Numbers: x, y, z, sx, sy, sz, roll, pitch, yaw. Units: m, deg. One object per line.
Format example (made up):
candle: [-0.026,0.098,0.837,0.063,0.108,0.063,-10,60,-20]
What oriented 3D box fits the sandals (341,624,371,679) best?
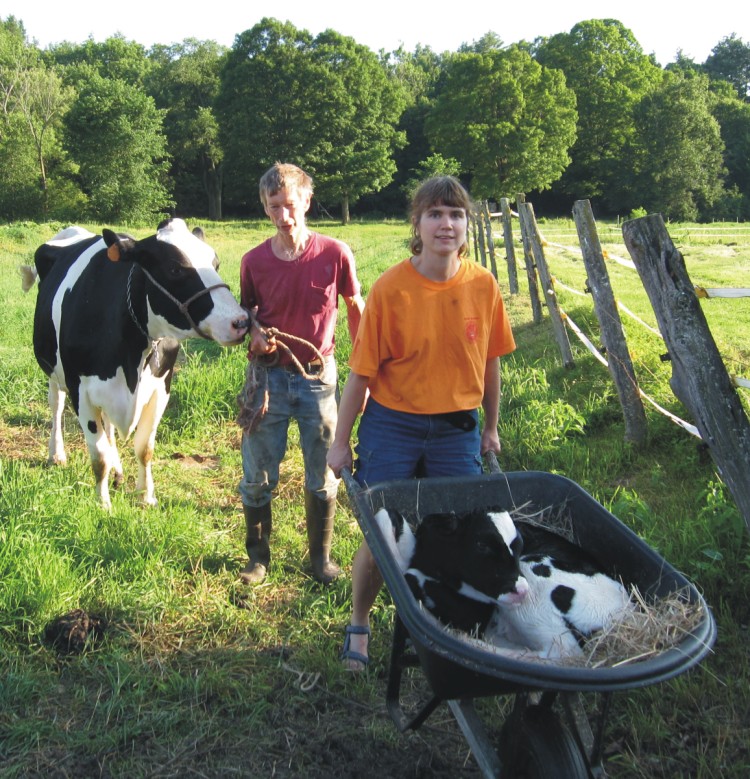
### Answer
sandals: [-0.085,1.157,3.273,0.072,0.121,0.259,1,3,-2]

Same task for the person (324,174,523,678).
person: [0.231,0.145,3.305,0.697,2.268,0.483,-3,26,-8]

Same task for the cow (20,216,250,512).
cow: [-1.932,-0.173,5.370,0.763,2.206,2.764,-7,16,-43]
